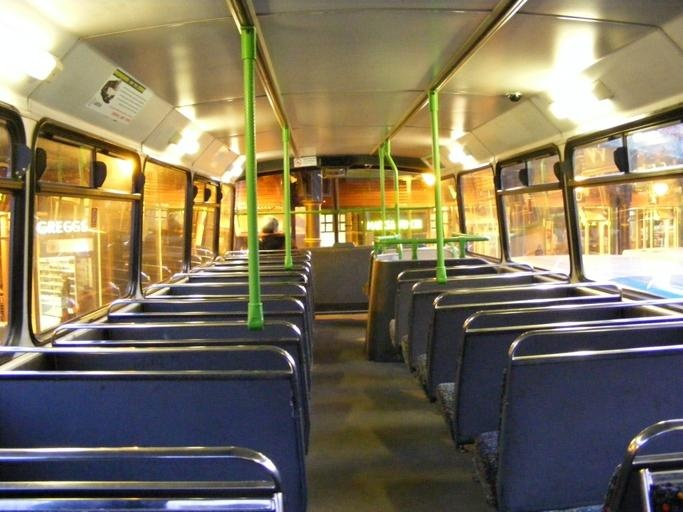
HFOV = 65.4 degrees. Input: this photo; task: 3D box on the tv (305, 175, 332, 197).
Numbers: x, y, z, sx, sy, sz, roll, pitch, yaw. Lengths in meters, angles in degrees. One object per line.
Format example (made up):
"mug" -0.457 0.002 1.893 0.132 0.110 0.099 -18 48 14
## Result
"tv" -0.548 -1.638 12.366 0.550 0.533 0.996 -5 2 -7
